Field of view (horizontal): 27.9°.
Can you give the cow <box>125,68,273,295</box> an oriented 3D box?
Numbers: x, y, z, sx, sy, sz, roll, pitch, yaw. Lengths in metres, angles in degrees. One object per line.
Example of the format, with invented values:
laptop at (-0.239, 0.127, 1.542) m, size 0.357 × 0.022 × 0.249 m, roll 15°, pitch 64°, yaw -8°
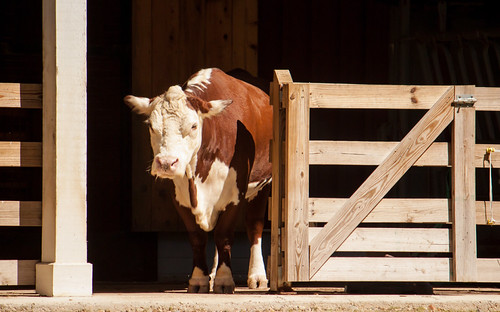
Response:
cow at (-0.442, 0.341, 11.955) m, size 1.304 × 2.604 × 3.381 m, roll -3°, pitch -5°, yaw 12°
